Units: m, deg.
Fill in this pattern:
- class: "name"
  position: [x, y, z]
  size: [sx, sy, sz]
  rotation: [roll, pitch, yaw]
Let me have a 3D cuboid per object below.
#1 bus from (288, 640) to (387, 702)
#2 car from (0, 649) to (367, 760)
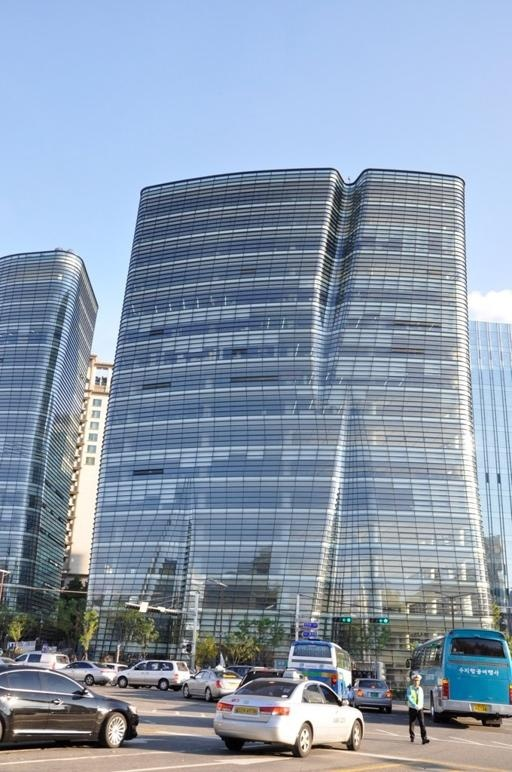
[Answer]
- class: "bus"
  position: [2.955, 12.537, 32.936]
  size: [2.086, 2.350, 5.653]
  rotation: [-5, -36, 12]
- class: "car"
  position: [-1.248, 6.101, 14.183]
  size: [7.508, 1.519, 2.608]
  rotation: [17, -24, -37]
